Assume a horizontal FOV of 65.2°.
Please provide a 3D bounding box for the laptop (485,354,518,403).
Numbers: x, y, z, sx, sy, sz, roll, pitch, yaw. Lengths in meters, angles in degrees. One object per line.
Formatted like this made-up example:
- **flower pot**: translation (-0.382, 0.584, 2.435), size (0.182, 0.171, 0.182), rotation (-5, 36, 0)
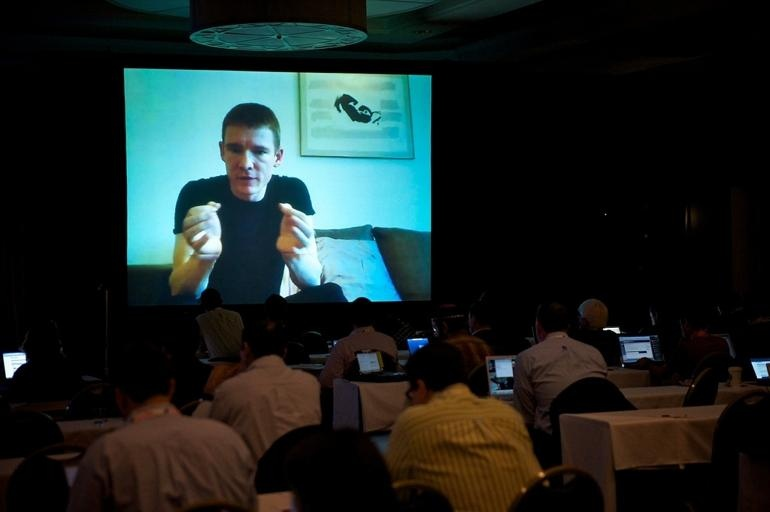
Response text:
- **laptop**: translation (0.998, 1.131, 5.623), size (0.452, 0.387, 0.336), rotation (0, -3, -2)

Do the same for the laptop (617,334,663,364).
- **laptop**: translation (2.940, 1.081, 6.939), size (0.506, 0.315, 0.111), rotation (-2, -12, -14)

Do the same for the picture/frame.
- **picture/frame**: translation (-0.571, -2.279, 9.897), size (1.695, 1.109, 0.015), rotation (0, 0, -10)

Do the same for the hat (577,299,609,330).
- **hat**: translation (2.378, 0.668, 6.806), size (0.326, 0.353, 0.389), rotation (-1, -4, -10)
